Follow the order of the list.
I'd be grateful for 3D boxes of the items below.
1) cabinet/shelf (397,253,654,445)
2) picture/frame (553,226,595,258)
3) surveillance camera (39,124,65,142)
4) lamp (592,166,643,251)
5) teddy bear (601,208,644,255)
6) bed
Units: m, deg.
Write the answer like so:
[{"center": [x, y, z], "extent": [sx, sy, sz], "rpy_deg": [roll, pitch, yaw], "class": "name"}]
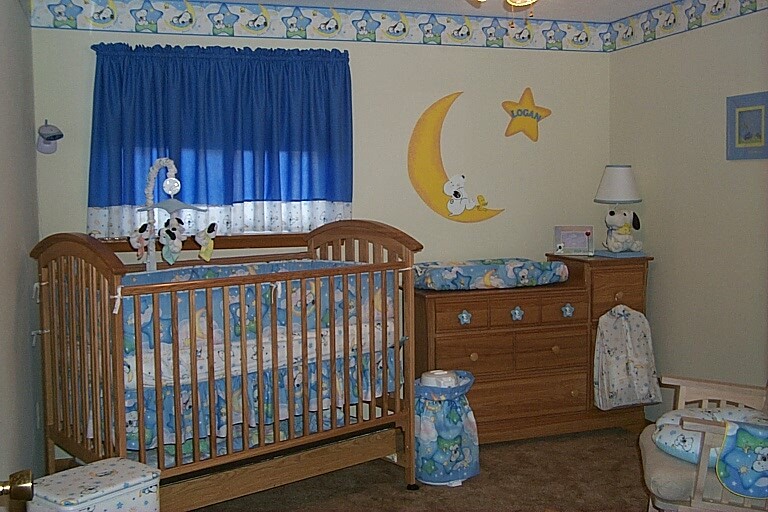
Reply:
[{"center": [0.963, 0.668, 4.522], "extent": [1.276, 1.034, 0.516], "rpy_deg": [-2, 3, -19], "class": "cabinet/shelf"}, {"center": [1.451, -0.105, 4.996], "extent": [0.228, 0.196, 0.081], "rpy_deg": [-1, -4, 0], "class": "picture/frame"}, {"center": [-2.145, -0.791, 4.234], "extent": [0.141, 0.055, 0.118], "rpy_deg": [38, 37, 14], "class": "surveillance camera"}, {"center": [1.806, -0.350, 5.026], "extent": [0.339, 0.687, 0.484], "rpy_deg": [3, 12, 21], "class": "lamp"}, {"center": [1.804, -0.202, 4.974], "extent": [0.295, 0.347, 0.264], "rpy_deg": [-1, 1, 21], "class": "teddy bear"}, {"center": [-0.921, 0.562, 4.268], "extent": [2.159, 1.831, 1.499], "rpy_deg": [-7, 9, -41], "class": "bed"}]
